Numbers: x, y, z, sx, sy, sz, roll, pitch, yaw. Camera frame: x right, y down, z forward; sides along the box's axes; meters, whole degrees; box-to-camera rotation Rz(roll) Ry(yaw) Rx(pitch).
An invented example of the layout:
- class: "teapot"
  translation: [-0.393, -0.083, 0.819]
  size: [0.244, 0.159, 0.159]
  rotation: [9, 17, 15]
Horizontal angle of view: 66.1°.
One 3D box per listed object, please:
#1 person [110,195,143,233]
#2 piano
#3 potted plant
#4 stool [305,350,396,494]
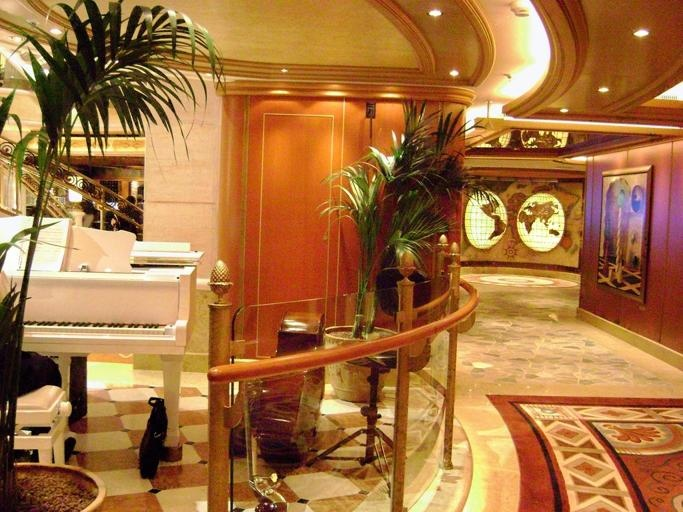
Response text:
- class: "person"
  translation: [-4.542, -0.879, 11.041]
  size: [0.529, 1.313, 0.972]
  rotation: [-2, 9, -30]
- class: "piano"
  translation: [-2.092, 0.512, 4.511]
  size: [1.513, 1.979, 1.922]
  rotation: [1, -6, -6]
- class: "potted plant"
  translation: [0.674, -0.666, 5.514]
  size: [1.449, 2.090, 1.344]
  rotation: [-2, 6, -31]
- class: "stool"
  translation: [0.131, 0.761, 2.617]
  size: [0.502, 0.553, 0.485]
  rotation: [2, -12, 12]
